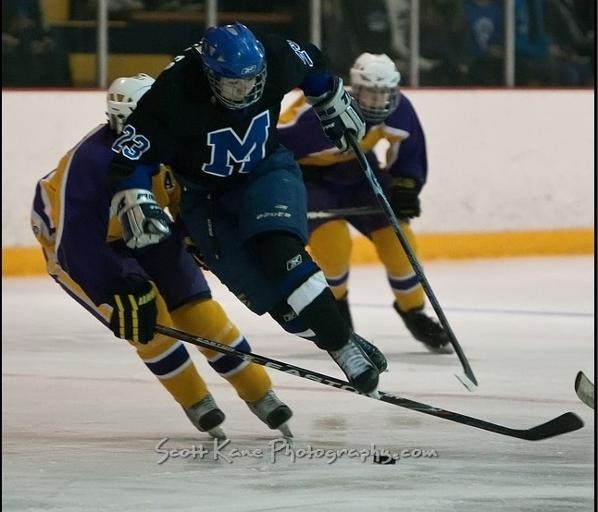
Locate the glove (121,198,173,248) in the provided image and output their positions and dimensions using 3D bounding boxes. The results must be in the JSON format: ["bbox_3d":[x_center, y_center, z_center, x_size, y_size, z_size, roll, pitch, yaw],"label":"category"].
[{"bbox_3d":[-0.517,-0.106,3.159,0.153,0.075,0.189,-12,41,-30],"label":"glove"}]

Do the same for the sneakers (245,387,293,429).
[{"bbox_3d":[-0.110,0.583,3.609,0.110,0.078,0.205,-23,37,-22],"label":"sneakers"}]

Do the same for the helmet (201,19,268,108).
[{"bbox_3d":[-0.222,-0.649,3.166,0.219,0.294,0.158,-1,15,-3],"label":"helmet"}]

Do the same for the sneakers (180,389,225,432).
[{"bbox_3d":[-0.379,0.606,3.582,0.097,0.115,0.154,-27,38,-23],"label":"sneakers"}]

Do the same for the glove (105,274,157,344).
[{"bbox_3d":[-0.595,0.193,3.270,0.217,0.212,0.106,2,4,2],"label":"glove"}]

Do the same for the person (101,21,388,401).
[{"bbox_3d":[-0.151,-0.206,3.367,0.946,1.247,0.788,0,15,4],"label":"person"}]
